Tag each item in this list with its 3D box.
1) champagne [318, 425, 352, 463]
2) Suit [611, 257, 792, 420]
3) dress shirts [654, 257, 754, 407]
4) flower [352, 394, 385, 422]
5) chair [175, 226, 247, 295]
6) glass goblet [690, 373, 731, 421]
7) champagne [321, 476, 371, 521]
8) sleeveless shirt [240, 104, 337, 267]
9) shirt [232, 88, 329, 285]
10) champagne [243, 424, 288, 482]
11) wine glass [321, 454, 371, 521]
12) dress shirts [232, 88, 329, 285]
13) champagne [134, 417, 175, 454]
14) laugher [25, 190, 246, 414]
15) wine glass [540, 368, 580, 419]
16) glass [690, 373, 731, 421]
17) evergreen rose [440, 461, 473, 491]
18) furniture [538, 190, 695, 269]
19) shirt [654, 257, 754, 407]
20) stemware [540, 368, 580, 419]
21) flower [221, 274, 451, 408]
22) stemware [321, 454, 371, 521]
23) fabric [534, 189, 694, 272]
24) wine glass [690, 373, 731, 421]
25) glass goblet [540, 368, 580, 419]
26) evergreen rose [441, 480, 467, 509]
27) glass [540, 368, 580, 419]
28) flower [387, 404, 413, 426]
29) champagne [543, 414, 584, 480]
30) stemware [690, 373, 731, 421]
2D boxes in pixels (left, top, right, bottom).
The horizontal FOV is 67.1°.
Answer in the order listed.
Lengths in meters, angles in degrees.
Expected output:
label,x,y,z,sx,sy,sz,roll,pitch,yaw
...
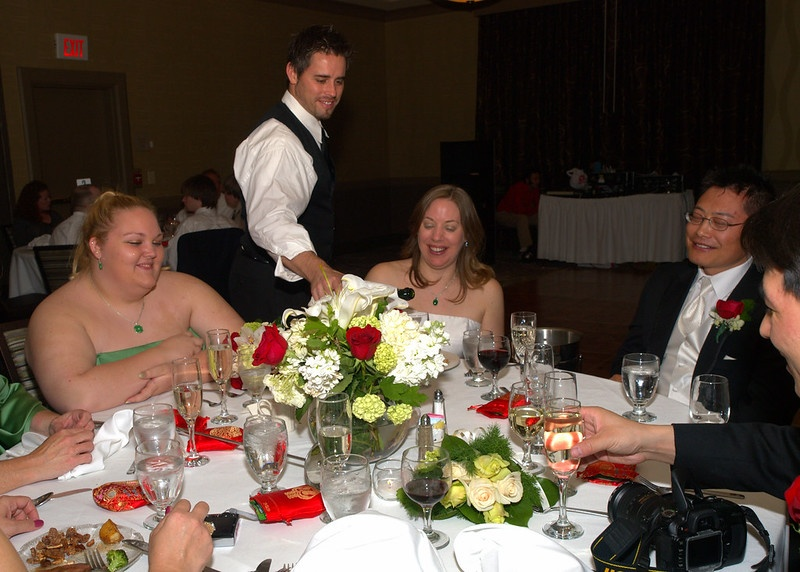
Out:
label,x,y,z,sx,sy,sz,roll,pitch,yaw
champagne,-0.170,0.424,1.611,0.080,0.098,0.083,0,-10,0
Suit,1.228,0.225,2.422,0.294,0.525,0.539,17,7,-35
dress shirts,1.367,0.199,2.737,0.446,0.640,0.203,27,2,34
flower,-0.089,0.350,1.681,0.088,0.094,0.043,-4,15,-6
chair,-1.340,-0.176,4.278,0.348,0.589,0.395,15,20,40
glass goblet,1.018,0.355,2.027,0.132,0.148,0.135,-4,5,-22
champagne,-0.130,0.509,1.462,0.106,0.121,0.105,-1,7,-3
sleeveless shirt,-0.551,-0.552,3.634,0.631,1.233,0.903,-1,21,-9
shirt,-0.564,-0.414,2.827,0.407,0.711,0.688,-6,15,-12
champagne,-0.374,0.475,1.700,0.114,0.217,0.108,-5,15,-10
wine glass,-0.132,0.492,1.531,0.136,0.169,0.140,0,-2,-14
dress shirts,-0.559,-0.414,2.829,0.407,0.711,0.691,-6,15,-13
champagne,-0.677,0.407,1.661,0.088,0.086,0.103,4,9,14
laugher,-1.143,0.055,2.644,0.644,0.947,0.980,5,7,23
wine glass,0.471,0.310,1.751,0.110,0.180,0.109,-1,4,1
glass,1.009,0.369,2.019,0.132,0.148,0.135,-4,5,-22
evergreen rose,0.152,0.465,1.492,0.071,0.076,0.034,9,3,9
furniture,3.226,-0.895,9.224,1.964,0.915,1.441,2,9,25
shirt,1.452,0.245,2.882,0.446,0.640,0.203,27,2,34
stemware,0.467,0.310,1.751,0.110,0.180,0.109,-1,4,1
flower,-0.135,0.173,1.747,0.542,0.396,0.265,-1,15,4
stemware,-0.133,0.476,1.490,0.136,0.169,0.140,0,-2,-14
fabric,3.257,-0.810,9.181,1.966,0.906,1.441,2,9,24
wine glass,1.008,0.373,2.024,0.132,0.148,0.135,-4,5,-22
glass goblet,0.466,0.310,1.751,0.110,0.180,0.109,-1,4,1
evergreen rose,0.138,0.518,1.497,0.056,0.034,0.067,6,16,26
glass,0.470,0.311,1.752,0.110,0.180,0.109,-1,4,1
flower,-0.001,0.362,1.698,0.068,0.058,0.024,-5,15,-9
champagne,0.425,0.409,1.557,0.107,0.160,0.082,-2,15,0
stemware,1.023,0.353,2.020,0.132,0.148,0.135,-4,5,-22
